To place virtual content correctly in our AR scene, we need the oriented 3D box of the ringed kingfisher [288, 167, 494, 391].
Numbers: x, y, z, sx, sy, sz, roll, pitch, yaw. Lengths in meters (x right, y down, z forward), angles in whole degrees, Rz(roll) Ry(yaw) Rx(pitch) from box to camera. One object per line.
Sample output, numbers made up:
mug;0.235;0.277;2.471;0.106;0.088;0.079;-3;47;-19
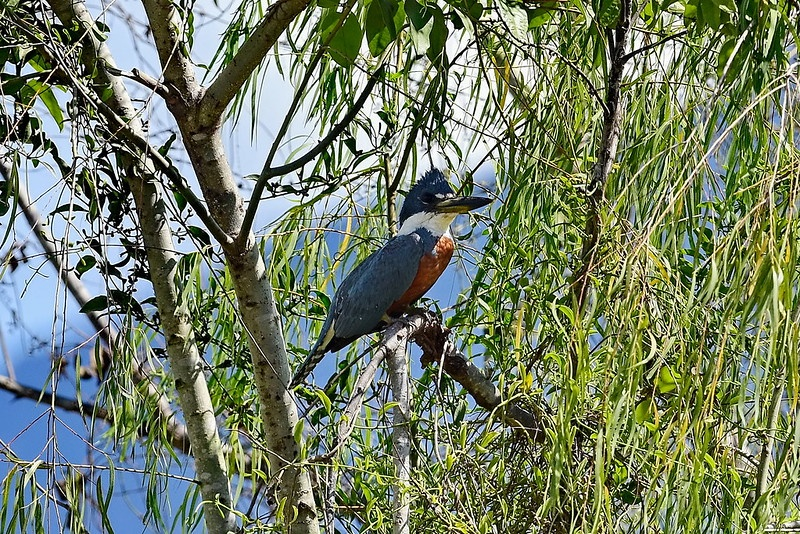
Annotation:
ringed kingfisher;-0.068;0.022;4.706;0.734;0.771;0.284;-5;-8;18
